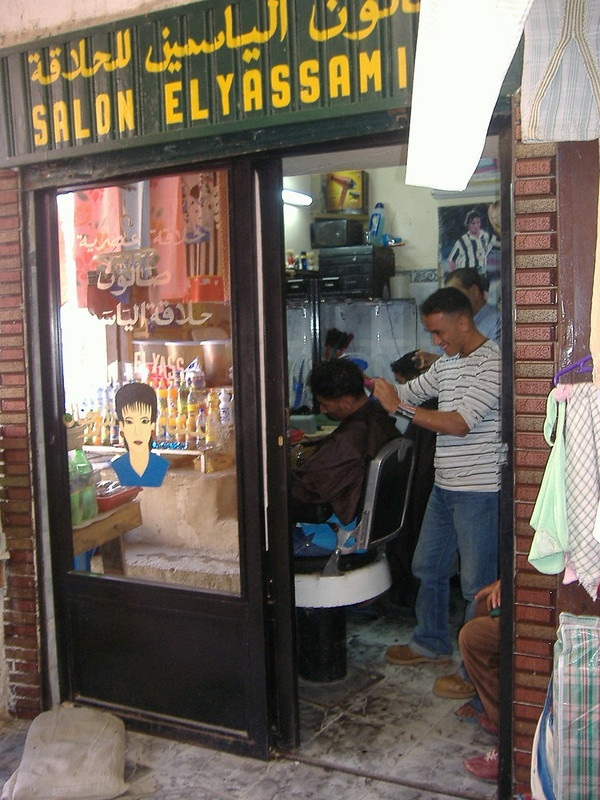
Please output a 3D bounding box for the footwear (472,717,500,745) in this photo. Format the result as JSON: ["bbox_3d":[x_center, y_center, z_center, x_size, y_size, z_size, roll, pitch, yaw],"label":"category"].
[{"bbox_3d":[0.669,1.169,2.471,0.114,0.034,0.086,38,-9,-21],"label":"footwear"}]

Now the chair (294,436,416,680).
[{"bbox_3d":[0.100,0.664,2.836,0.545,0.902,0.517,-5,-10,24],"label":"chair"}]

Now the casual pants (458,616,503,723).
[{"bbox_3d":[0.601,0.923,2.338,0.124,0.392,0.102,-1,3,12],"label":"casual pants"}]

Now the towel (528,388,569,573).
[{"bbox_3d":[0.589,0.190,1.659,0.084,0.456,0.180,-1,3,19],"label":"towel"}]

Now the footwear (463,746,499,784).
[{"bbox_3d":[0.580,1.171,2.236,0.152,0.075,0.087,12,40,-22],"label":"footwear"}]

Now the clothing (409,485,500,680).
[{"bbox_3d":[0.651,0.700,2.964,0.372,0.814,0.266,0,-15,25],"label":"clothing"}]

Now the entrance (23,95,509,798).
[{"bbox_3d":[0.126,0.202,2.992,1.493,2.700,1.306,13,-15,-38],"label":"entrance"}]
